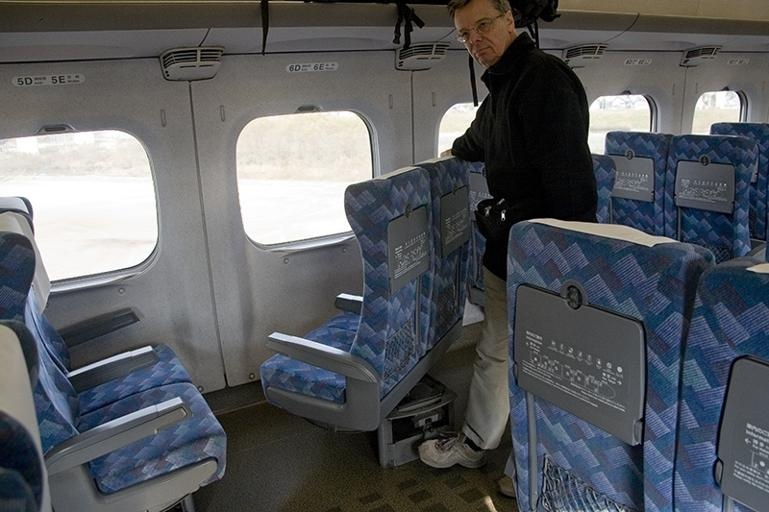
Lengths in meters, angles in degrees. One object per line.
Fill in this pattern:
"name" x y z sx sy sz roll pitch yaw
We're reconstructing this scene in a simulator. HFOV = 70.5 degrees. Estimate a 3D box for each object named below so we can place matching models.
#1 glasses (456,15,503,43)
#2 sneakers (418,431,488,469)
"glasses" 0.466 -1.131 2.726 0.237 0.115 0.129 6 17 35
"sneakers" 0.365 1.097 3.080 0.391 0.181 0.172 1 43 -9
